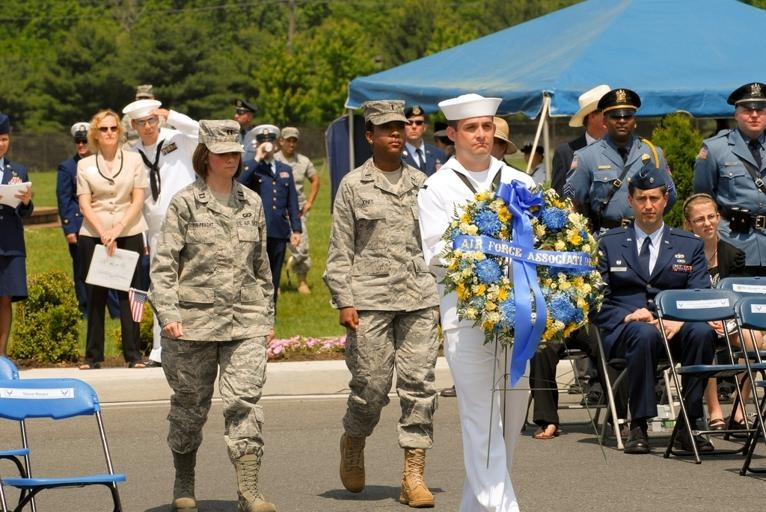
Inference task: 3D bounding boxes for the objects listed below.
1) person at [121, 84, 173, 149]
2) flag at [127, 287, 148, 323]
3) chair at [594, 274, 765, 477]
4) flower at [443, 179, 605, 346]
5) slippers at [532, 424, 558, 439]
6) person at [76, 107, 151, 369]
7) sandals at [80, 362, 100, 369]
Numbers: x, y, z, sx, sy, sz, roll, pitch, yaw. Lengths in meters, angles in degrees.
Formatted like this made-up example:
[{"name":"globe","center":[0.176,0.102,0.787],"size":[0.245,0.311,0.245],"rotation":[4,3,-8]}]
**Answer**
[{"name":"person","center":[-3.347,-1.917,25.857],"size":[0.799,0.625,0.776],"rotation":[3,19,-22]},{"name":"flag","center":[-3.382,0.676,23.974],"size":[0.223,0.499,0.529],"rotation":[-1,3,-9]},{"name":"chair","center":[4.073,1.440,21.880],"size":[1.471,2.127,1.577],"rotation":[0,3,8]},{"name":"flower","center":[1.529,0.086,19.405],"size":[1.790,1.778,0.487],"rotation":[0,3,3]},{"name":"slippers","center":[2.087,2.240,22.276],"size":[0.284,0.104,0.166],"rotation":[7,-11,-42]},{"name":"person","center":[-3.758,-0.240,24.234],"size":[0.955,3.597,0.897],"rotation":[-1,3,-11]},{"name":"sandals","center":[-4.074,1.532,24.233],"size":[0.108,0.081,0.286],"rotation":[-8,-14,38]}]
